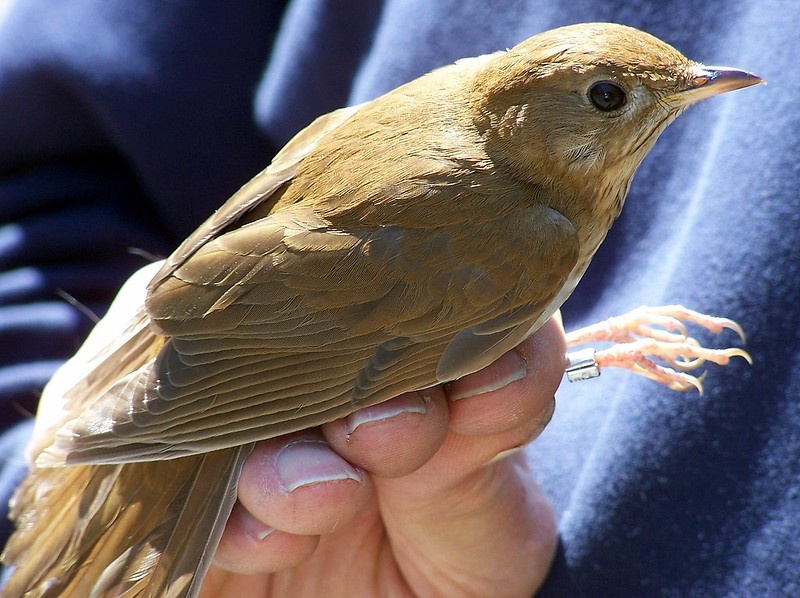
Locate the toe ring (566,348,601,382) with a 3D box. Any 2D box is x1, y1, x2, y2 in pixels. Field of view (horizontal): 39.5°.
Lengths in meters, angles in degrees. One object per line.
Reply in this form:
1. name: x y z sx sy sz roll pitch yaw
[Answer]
1. toe ring: 0.626 0.230 3.839 0.160 0.098 0.101 -10 1 16
